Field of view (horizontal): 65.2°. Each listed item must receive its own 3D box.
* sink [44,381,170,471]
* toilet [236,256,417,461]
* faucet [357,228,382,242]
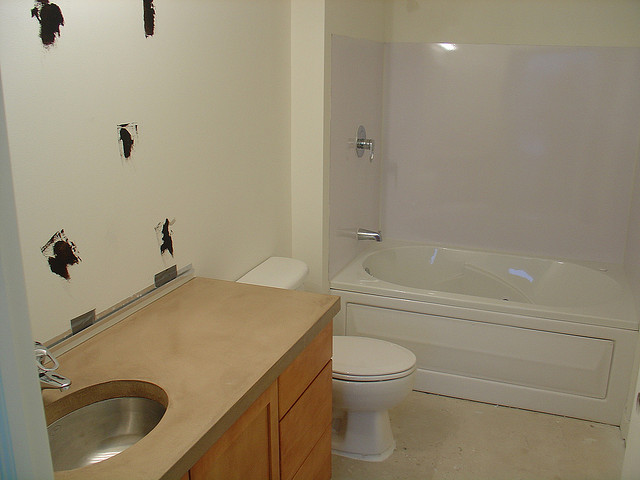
[{"bbox_3d":[-0.605,0.507,1.400,0.217,0.107,0.259,-12,-5,44],"label":"sink"},{"bbox_3d":[0.098,0.623,2.489,0.740,0.810,0.441,1,13,13],"label":"toilet"},{"bbox_3d":[0.307,-0.029,3.021,0.121,0.058,0.070,2,13,9],"label":"faucet"}]
